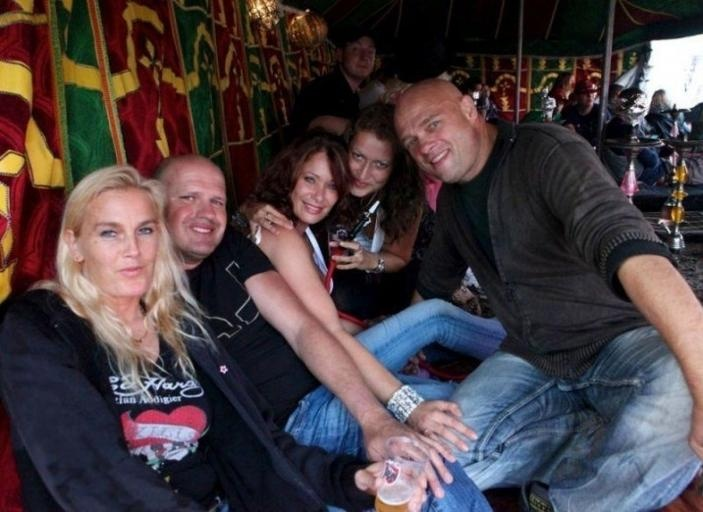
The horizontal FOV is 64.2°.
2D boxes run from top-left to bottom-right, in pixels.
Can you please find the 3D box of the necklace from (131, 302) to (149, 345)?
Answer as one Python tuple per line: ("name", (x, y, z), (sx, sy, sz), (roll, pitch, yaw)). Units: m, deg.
("necklace", (-0.867, 0.285, 2.334), (0.031, 0.129, 0.096), (-12, 4, 26))
